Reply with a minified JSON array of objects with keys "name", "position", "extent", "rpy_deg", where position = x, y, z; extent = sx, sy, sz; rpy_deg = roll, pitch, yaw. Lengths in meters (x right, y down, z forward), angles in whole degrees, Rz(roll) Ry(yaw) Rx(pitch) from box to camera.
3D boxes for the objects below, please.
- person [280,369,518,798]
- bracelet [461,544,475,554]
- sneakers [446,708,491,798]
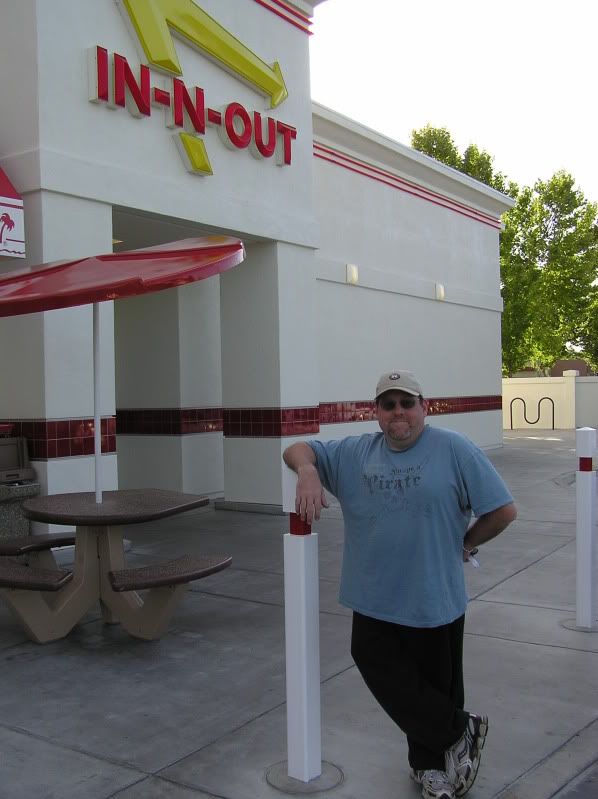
[{"name":"person","position":[0.322,0.561,2.041],"extent":[0.678,1.311,0.331],"rpy_deg":[-1,-2,18]},{"name":"bracelet","position":[0.540,0.480,2.091],"extent":[0.040,0.016,0.044],"rpy_deg":[4,5,17]},{"name":"sneakers","position":[0.515,1.072,2.020],"extent":[0.123,0.315,0.097],"rpy_deg":[11,-12,-9]}]
